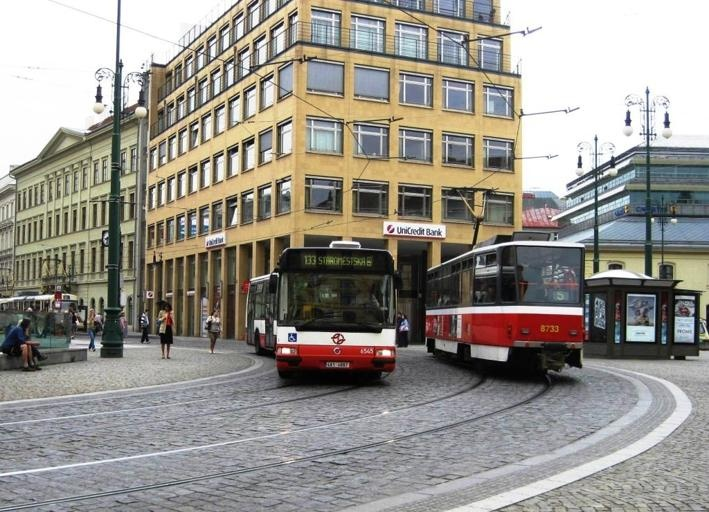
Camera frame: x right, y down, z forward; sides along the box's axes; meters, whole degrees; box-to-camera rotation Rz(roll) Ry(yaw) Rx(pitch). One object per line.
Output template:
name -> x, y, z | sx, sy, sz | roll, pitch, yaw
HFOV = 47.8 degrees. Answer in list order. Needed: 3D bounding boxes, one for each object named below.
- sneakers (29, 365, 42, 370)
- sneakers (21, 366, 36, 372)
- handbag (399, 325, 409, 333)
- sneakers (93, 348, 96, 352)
sneakers -> -8.914, 3.149, 22.359 | 0.314, 0.124, 0.098 | -2, -3, 17
sneakers -> -9.048, 3.146, 22.188 | 0.382, 0.154, 0.143 | -1, -2, 20
handbag -> 2.521, 3.779, 41.064 | 0.370, 0.244, 0.373 | 1, -9, -5
sneakers -> -11.103, 4.088, 34.267 | 0.086, 0.168, 0.235 | 5, -2, -38
